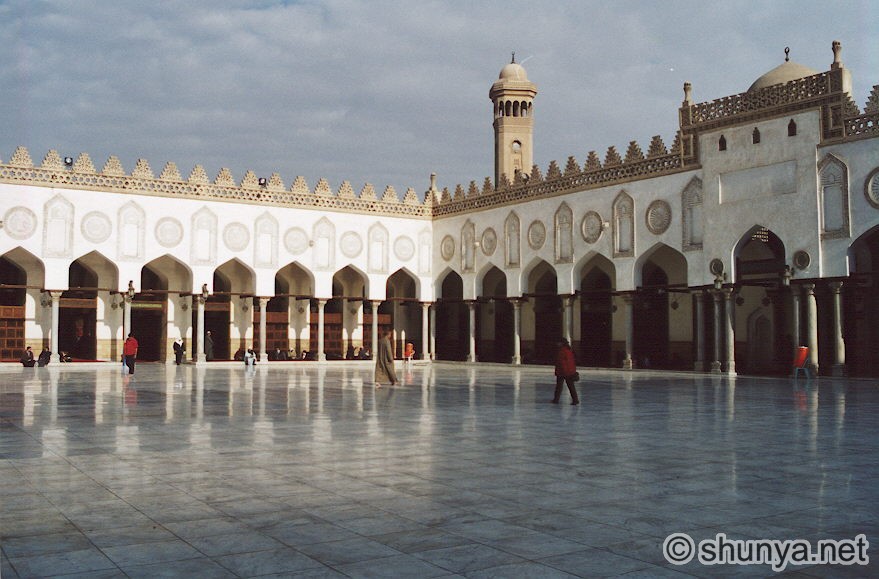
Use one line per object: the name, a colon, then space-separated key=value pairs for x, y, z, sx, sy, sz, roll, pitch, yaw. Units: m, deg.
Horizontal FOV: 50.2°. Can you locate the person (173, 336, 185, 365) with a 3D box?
person: x=-8.090 y=1.936 z=29.246 sx=0.316 sy=0.819 sz=1.155 roll=-1 pitch=-5 yaw=-16

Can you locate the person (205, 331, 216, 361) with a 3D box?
person: x=-7.433 y=1.799 z=30.449 sx=0.307 sy=1.011 sz=1.664 roll=-1 pitch=-5 yaw=-14

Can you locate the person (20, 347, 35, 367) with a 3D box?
person: x=-11.645 y=1.928 z=26.700 sx=0.386 sy=0.580 sz=1.091 roll=0 pitch=-5 yaw=-24
